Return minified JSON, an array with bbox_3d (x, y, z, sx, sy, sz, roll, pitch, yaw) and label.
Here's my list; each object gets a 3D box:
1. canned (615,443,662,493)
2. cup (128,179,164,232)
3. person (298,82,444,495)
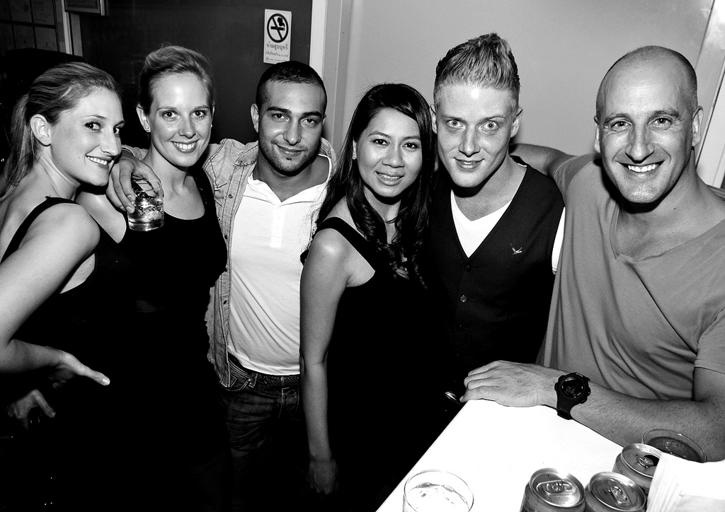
[{"bbox_3d":[0.895,0.691,1.912,0.129,0.132,0.131,-16,29,-2],"label":"canned"},{"bbox_3d":[-0.980,-0.234,2.608,0.146,0.210,0.131,-6,24,-28],"label":"cup"},{"bbox_3d":[0.013,0.162,2.641,0.571,1.749,0.755,4,23,5],"label":"person"}]
